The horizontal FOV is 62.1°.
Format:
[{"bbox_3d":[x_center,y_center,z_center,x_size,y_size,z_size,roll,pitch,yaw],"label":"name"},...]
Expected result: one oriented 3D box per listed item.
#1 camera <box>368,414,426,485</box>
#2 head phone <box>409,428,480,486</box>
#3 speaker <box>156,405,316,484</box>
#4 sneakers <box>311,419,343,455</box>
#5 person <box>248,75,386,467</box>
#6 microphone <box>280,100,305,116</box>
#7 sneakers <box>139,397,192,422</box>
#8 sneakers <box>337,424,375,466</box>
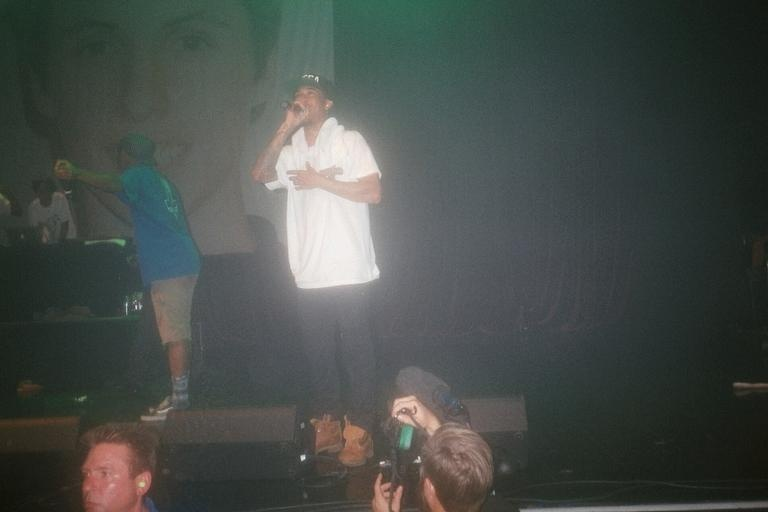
[{"bbox_3d":[0.102,1.249,4.102,0.240,0.402,0.152,0,-19,10],"label":"camera"},{"bbox_3d":[0.396,1.140,3.666,0.257,0.302,0.326,-1,6,0],"label":"head phone"},{"bbox_3d":[-0.979,1.202,4.214,0.863,0.417,0.168,-1,-6,1],"label":"speaker"},{"bbox_3d":[-0.362,1.174,4.153,0.234,0.223,0.169,0,-3,-3],"label":"sneakers"},{"bbox_3d":[-0.414,0.063,4.219,0.744,2.570,0.240,1,-4,-3],"label":"person"},{"bbox_3d":[-0.602,-0.983,4.290,0.229,0.074,0.069,9,32,-7],"label":"microphone"},{"bbox_3d":[-1.450,1.008,4.202,0.348,0.141,0.115,0,-6,-13],"label":"sneakers"},{"bbox_3d":[-0.183,1.216,4.143,0.229,0.263,0.100,1,-4,-4],"label":"sneakers"}]
